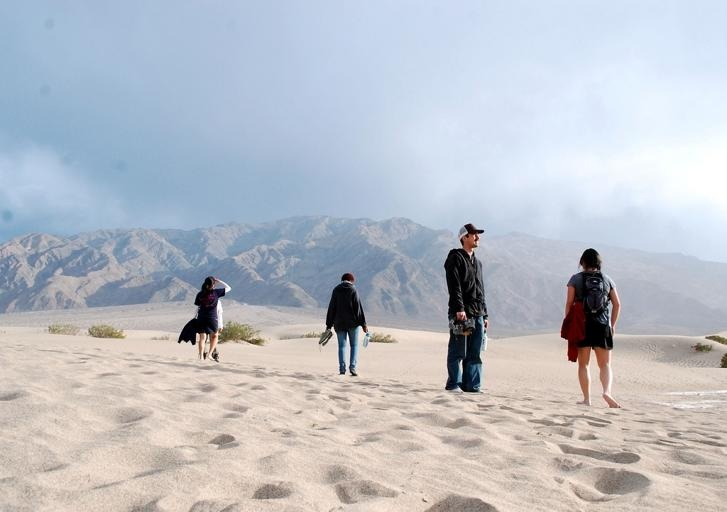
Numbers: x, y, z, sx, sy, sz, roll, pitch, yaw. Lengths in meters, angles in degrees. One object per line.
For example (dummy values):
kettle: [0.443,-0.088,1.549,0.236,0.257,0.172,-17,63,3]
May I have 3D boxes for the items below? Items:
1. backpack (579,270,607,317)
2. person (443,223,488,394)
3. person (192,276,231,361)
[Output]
backpack: [3.168,0.509,7.799,0.362,0.598,0.197,1,-2,16]
person: [1.414,0.759,7.954,0.593,2.352,1.074,1,-2,13]
person: [-3.025,1.248,11.365,0.636,1.645,0.952,2,-2,-17]
